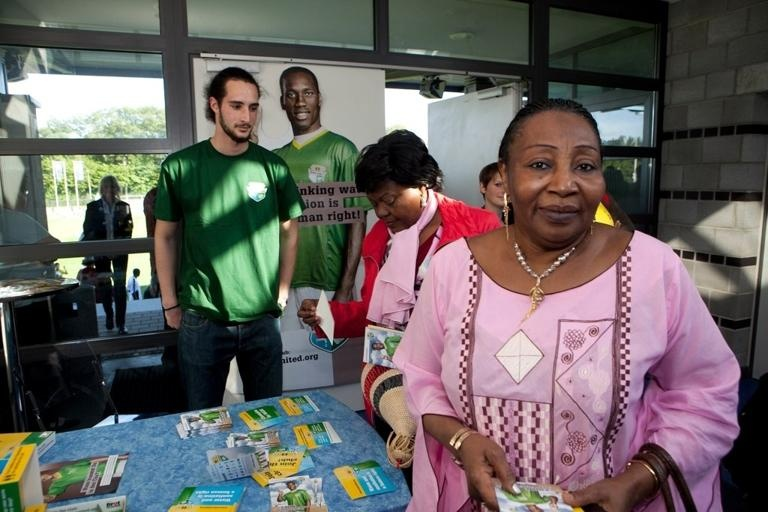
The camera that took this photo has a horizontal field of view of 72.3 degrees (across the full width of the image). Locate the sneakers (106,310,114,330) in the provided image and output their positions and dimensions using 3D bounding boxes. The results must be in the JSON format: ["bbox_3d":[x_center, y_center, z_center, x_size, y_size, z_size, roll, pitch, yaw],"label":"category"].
[{"bbox_3d":[-1.954,0.459,3.783,0.046,0.134,0.056,-7,12,-21],"label":"sneakers"}]

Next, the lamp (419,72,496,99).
[{"bbox_3d":[0.682,-1.552,4.738,0.623,0.205,0.422,-8,11,-41],"label":"lamp"}]

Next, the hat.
[{"bbox_3d":[0.016,0.657,2.342,0.086,0.307,0.199,-2,-18,-38],"label":"hat"}]

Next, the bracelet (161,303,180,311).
[{"bbox_3d":[-1.280,0.309,3.160,0.101,0.042,0.038,-1,8,4],"label":"bracelet"}]

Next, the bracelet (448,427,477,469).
[{"bbox_3d":[0.255,0.634,1.711,0.045,0.121,0.104,-3,-22,15],"label":"bracelet"}]

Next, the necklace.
[{"bbox_3d":[0.493,0.064,1.679,0.112,0.292,0.039,10,-20,32],"label":"necklace"}]

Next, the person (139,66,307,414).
[{"bbox_3d":[-0.916,0.114,3.255,0.878,1.655,0.293,-5,9,-24],"label":"person"}]

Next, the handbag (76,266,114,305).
[{"bbox_3d":[-2.055,0.197,3.713,0.195,0.275,0.260,-3,11,-21],"label":"handbag"}]

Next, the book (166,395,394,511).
[{"bbox_3d":[-0.422,0.843,2.193,0.843,0.177,0.806,-4,8,-18],"label":"book"}]
